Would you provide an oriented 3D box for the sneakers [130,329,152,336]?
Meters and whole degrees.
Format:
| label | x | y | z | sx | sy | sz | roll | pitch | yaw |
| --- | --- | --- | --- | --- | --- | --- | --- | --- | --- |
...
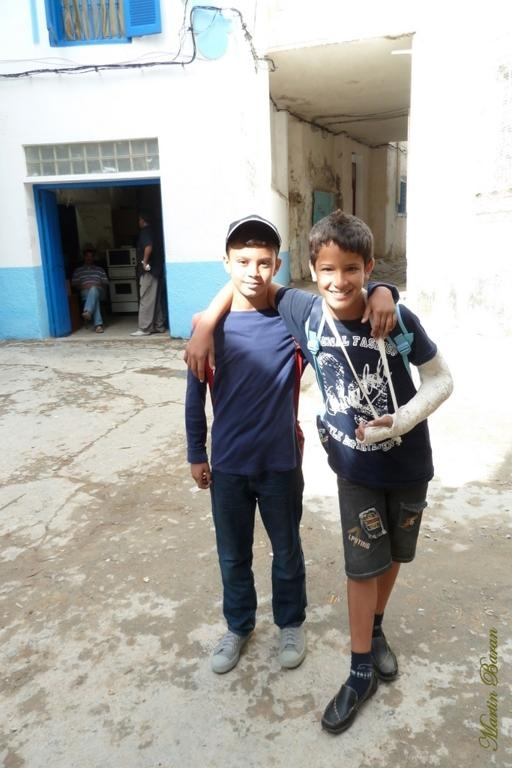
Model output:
| label | x | y | z | sx | sy | sz | roll | pitch | yaw |
| --- | --- | --- | --- | --- | --- | --- | --- | --- | --- |
| sneakers | -1.721 | -0.772 | 8.550 | 0.326 | 0.132 | 0.117 | 0 | 6 | -4 |

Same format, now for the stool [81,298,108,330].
| label | x | y | z | sx | sy | sz | roll | pitch | yaw |
| --- | --- | --- | --- | --- | --- | --- | --- | --- | --- |
| stool | -2.641 | -1.173 | 9.150 | 0.317 | 0.741 | 0.323 | -15 | -31 | 3 |

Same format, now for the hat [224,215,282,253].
| label | x | y | z | sx | sy | sz | roll | pitch | yaw |
| --- | --- | --- | --- | --- | --- | --- | --- | --- | --- |
| hat | -0.007 | -0.418 | 1.646 | 0.149 | 0.097 | 0.202 | 0 | 4 | -2 |

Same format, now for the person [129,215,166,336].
| label | x | y | z | sx | sy | sz | roll | pitch | yaw |
| --- | --- | --- | --- | --- | --- | --- | --- | --- | --- |
| person | -1.641 | -1.605 | 8.552 | 0.470 | 1.699 | 1.074 | -5 | 15 | -8 |

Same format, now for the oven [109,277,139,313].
| label | x | y | z | sx | sy | sz | roll | pitch | yaw |
| --- | --- | --- | --- | --- | --- | --- | --- | --- | --- |
| oven | -2.384 | -1.666 | 10.570 | 0.555 | 0.795 | 0.542 | -1 | 11 | 1 |

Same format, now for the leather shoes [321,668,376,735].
| label | x | y | z | sx | sy | sz | roll | pitch | yaw |
| --- | --- | --- | --- | --- | --- | --- | --- | --- | --- |
| leather shoes | 0.252 | 0.854 | 1.590 | 0.077 | 0.088 | 0.206 | 8 | 41 | 39 |

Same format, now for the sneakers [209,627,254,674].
| label | x | y | z | sx | sy | sz | roll | pitch | yaw |
| --- | --- | --- | --- | --- | --- | --- | --- | --- | --- |
| sneakers | -0.085 | 0.847 | 1.812 | 0.051 | 0.062 | 0.158 | 3 | 4 | 19 |

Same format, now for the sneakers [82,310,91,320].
| label | x | y | z | sx | sy | sz | roll | pitch | yaw |
| --- | --- | --- | --- | --- | --- | --- | --- | --- | --- |
| sneakers | -2.738 | -1.127 | 9.201 | 0.073 | 0.156 | 0.148 | -10 | 43 | 4 |

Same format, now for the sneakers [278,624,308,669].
| label | x | y | z | sx | sy | sz | roll | pitch | yaw |
| --- | --- | --- | --- | --- | --- | --- | --- | --- | --- |
| sneakers | 0.114 | 0.819 | 1.770 | 0.050 | 0.055 | 0.139 | -3 | 4 | 6 |

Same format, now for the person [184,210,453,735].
| label | x | y | z | sx | sy | sz | roll | pitch | yaw |
| --- | --- | --- | --- | --- | --- | --- | --- | --- | --- |
| person | 0.314 | 0.220 | 1.552 | 0.432 | 1.340 | 0.491 | -2 | 15 | 2 |
